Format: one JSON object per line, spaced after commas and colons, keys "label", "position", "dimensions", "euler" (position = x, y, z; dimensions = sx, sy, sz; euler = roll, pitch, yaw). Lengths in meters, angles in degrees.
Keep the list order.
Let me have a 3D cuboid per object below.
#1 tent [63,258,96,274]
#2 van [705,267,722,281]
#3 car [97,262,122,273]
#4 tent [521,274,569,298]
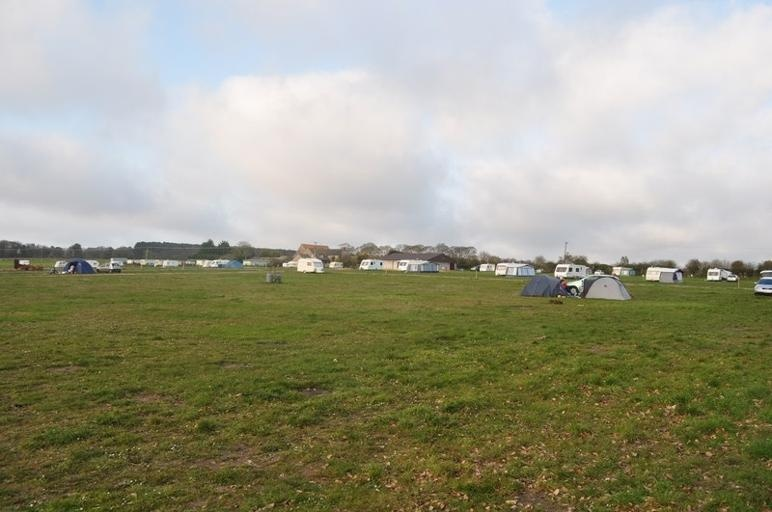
{"label": "tent", "position": [-39.741, 1.445, 69.468], "dimensions": [3.246, 1.717, 1.588], "euler": [-10, 16, -32]}
{"label": "van", "position": [47.659, 2.658, 77.801], "dimensions": [1.698, 2.154, 2.472], "euler": [2, 1, 27]}
{"label": "car", "position": [-39.123, 1.661, 76.823], "dimensions": [2.052, 1.373, 3.045], "euler": [-4, -7, 43]}
{"label": "tent", "position": [12.561, 2.460, 42.358], "dimensions": [3.402, 1.520, 2.194], "euler": [10, 18, 41]}
